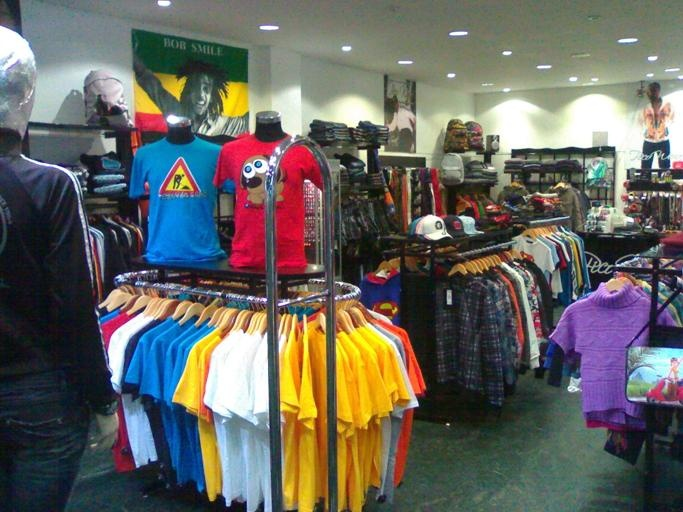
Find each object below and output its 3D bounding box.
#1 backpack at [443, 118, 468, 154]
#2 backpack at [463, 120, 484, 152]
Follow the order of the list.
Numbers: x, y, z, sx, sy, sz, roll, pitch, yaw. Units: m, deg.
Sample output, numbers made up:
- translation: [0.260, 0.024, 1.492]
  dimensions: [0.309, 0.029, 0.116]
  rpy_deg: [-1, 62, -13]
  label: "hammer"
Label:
- translation: [1.950, -2.010, 10.070]
  dimensions: [0.367, 0.563, 0.514]
  rpy_deg: [-2, 2, -20]
  label: "backpack"
- translation: [2.263, -2.073, 10.473]
  dimensions: [0.367, 0.548, 0.502]
  rpy_deg: [-2, 3, -24]
  label: "backpack"
